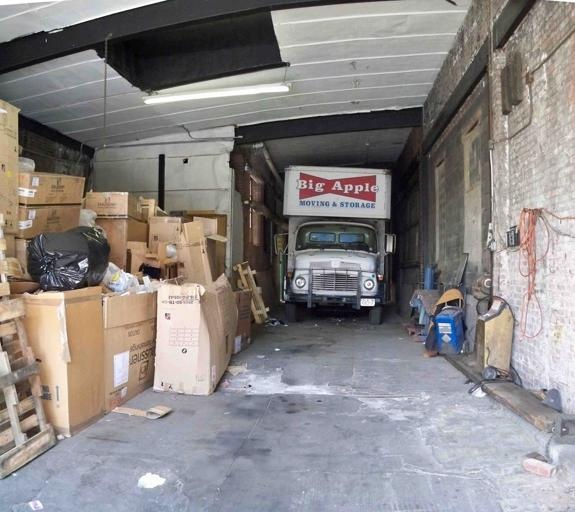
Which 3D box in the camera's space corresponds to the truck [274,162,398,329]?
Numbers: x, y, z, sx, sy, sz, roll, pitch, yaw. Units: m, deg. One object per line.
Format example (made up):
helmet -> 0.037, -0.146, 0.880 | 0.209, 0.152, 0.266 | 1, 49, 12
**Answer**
truck -> 1.106, -0.367, 8.842 | 1.823, 2.448, 3.676 | 1, -4, 4
